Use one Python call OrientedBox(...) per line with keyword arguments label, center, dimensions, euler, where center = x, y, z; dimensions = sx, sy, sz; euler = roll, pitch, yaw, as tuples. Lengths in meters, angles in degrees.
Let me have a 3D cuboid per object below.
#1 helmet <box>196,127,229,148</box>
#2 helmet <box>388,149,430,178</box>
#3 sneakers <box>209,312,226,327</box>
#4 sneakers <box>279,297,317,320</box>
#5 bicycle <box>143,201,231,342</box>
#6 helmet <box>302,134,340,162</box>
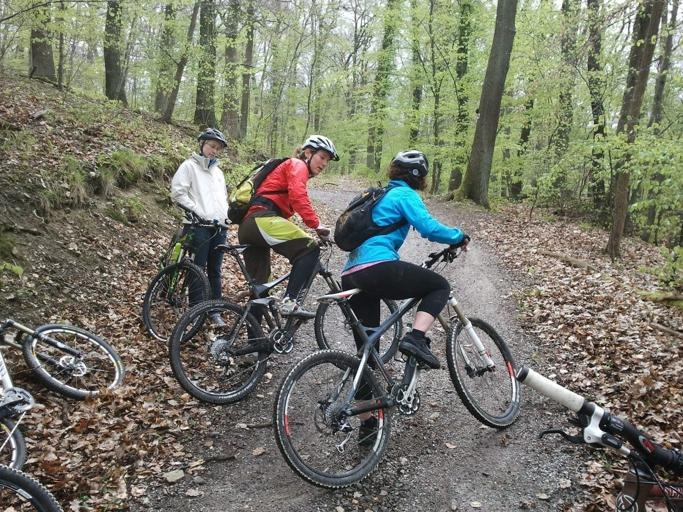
OrientedBox(label="helmet", center=(-2.191, -2.058, 9.684), dimensions=(0.535, 0.244, 0.371), euler=(1, -2, 3))
OrientedBox(label="helmet", center=(0.964, -1.314, 7.988), dimensions=(0.476, 0.281, 0.359), euler=(0, 19, -7))
OrientedBox(label="sneakers", center=(-1.831, 0.919, 8.269), dimensions=(0.195, 0.269, 0.237), euler=(7, 11, 6))
OrientedBox(label="sneakers", center=(-0.666, 0.766, 8.458), dimensions=(0.472, 0.221, 0.278), euler=(19, -4, -8))
OrientedBox(label="bicycle", center=(-2.736, 0.272, 9.965), dimensions=(1.600, 2.470, 1.256), euler=(1, -11, 7))
OrientedBox(label="helmet", center=(-0.328, -1.700, 8.774), dimensions=(0.540, 0.267, 0.370), euler=(7, 0, 4))
